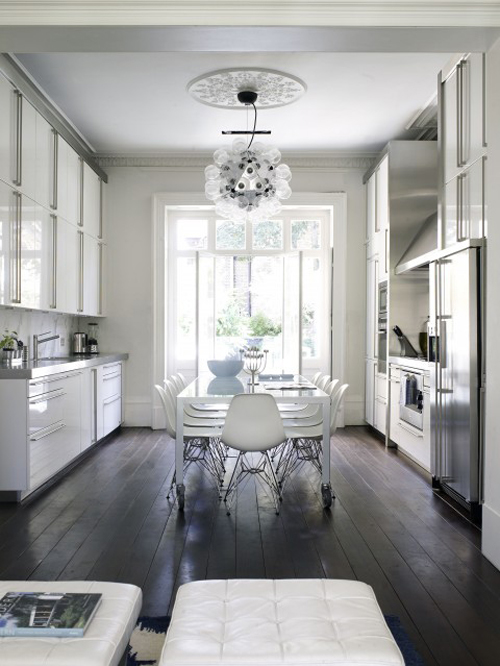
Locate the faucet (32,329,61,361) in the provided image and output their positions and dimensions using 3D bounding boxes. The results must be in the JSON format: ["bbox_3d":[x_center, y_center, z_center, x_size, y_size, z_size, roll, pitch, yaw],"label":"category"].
[{"bbox_3d":[-1.979,0.111,4.846,0.208,0.265,0.890,0,-2,-19],"label":"faucet"}]

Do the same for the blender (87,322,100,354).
[{"bbox_3d":[-1.822,0.042,5.743,0.128,0.373,0.473,0,-2,-18],"label":"blender"}]

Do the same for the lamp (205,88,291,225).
[{"bbox_3d":[-0.015,-1.380,3.891,0.649,1.071,0.697,-2,-1,9],"label":"lamp"}]

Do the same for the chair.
[{"bbox_3d":[-0.011,0.730,3.707,1.341,0.759,1.798,0,-2,-11],"label":"chair"}]
